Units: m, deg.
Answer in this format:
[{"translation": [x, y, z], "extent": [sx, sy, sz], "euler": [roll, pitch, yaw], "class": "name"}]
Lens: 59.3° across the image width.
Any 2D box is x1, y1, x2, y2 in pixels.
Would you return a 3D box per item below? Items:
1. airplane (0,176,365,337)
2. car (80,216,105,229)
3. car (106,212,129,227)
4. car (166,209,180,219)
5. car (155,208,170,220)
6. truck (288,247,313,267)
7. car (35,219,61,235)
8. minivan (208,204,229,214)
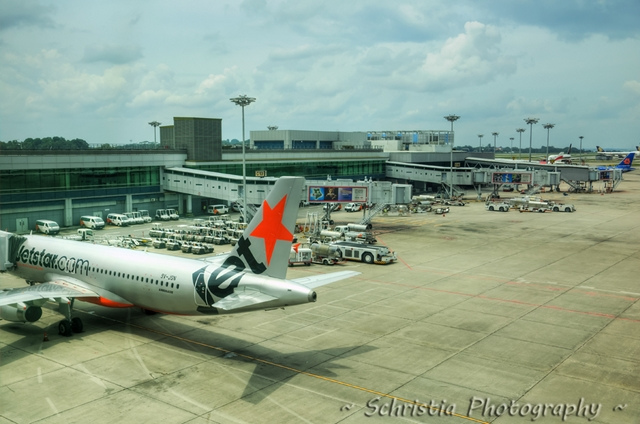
[{"translation": [-7.734, 5.311, 60.392], "extent": [26.134, 6.638, 22.817], "euler": [5, 3, 34], "class": "airplane"}, {"translation": [-41.580, 1.773, 102.185], "extent": [3.962, 1.408, 2.413], "euler": [4, 9, 26], "class": "car"}, {"translation": [-38.260, 1.364, 106.600], "extent": [4.213, 1.474, 2.401], "euler": [8, 12, 35], "class": "car"}, {"translation": [-29.974, 0.519, 113.302], "extent": [2.407, 0.922, 1.744], "euler": [5, 10, 37], "class": "car"}, {"translation": [-31.821, 0.637, 112.512], "extent": [2.921, 1.202, 1.994], "euler": [2, 8, 28], "class": "car"}, {"translation": [-2.865, 5.481, 80.558], "extent": [2.692, 1.871, 3.778], "euler": [-1, -2, -2], "class": "truck"}, {"translation": [-47.273, 2.349, 97.790], "extent": [4.204, 1.465, 2.677], "euler": [6, 9, 31], "class": "car"}, {"translation": [-21.678, -0.239, 119.322], "extent": [3.865, 1.178, 1.867], "euler": [-4, 16, -8], "class": "minivan"}]
